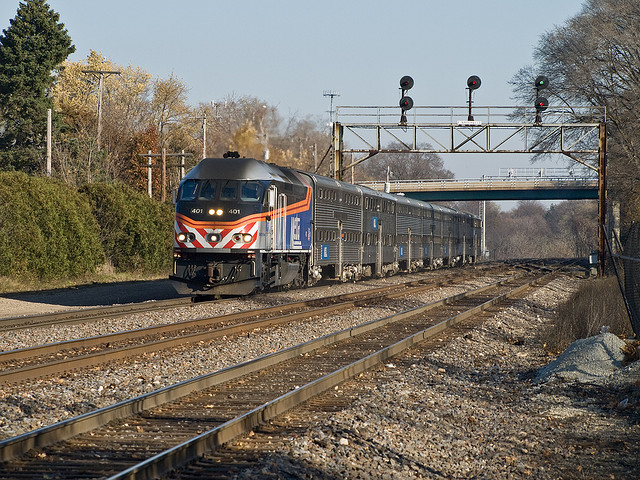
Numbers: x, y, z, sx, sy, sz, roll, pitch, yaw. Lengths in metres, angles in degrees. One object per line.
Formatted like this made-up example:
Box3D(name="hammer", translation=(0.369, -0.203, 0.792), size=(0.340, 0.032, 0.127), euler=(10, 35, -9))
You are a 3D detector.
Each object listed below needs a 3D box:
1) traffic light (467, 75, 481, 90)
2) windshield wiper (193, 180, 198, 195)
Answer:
Box3D(name="traffic light", translation=(6.985, -7.090, 33.906), size=(0.461, 0.740, 2.110), euler=(3, 4, 9))
Box3D(name="windshield wiper", translation=(-3.577, -1.506, 21.471), size=(0.044, 0.464, 0.052), euler=(0, -25, 17))
